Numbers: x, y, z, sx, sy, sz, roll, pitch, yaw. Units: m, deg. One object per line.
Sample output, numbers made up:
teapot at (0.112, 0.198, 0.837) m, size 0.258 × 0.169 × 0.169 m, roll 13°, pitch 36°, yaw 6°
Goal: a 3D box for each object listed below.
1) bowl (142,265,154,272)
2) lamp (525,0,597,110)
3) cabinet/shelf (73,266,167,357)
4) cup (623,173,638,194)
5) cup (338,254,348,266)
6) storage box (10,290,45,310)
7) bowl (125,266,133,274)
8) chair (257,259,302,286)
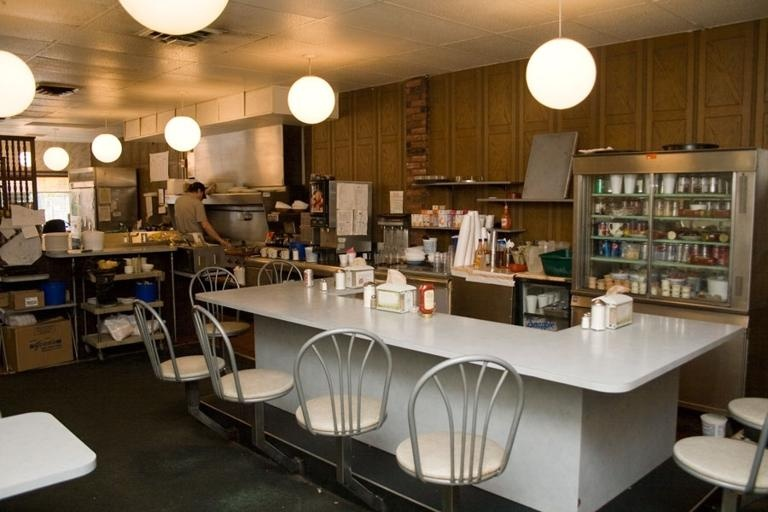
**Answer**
bowl at (-2.893, 0.150, 7.132) m, size 0.095 × 0.047 × 0.092 m, roll 0°, pitch -2°, yaw 0°
lamp at (1.328, -1.390, 4.363) m, size 0.492 × 0.497 × 0.212 m, roll 2°, pitch 14°, yaw 13°
cabinet/shelf at (-3.056, 0.660, 6.634) m, size 0.671 × 0.930 × 1.016 m, roll 12°, pitch 12°, yaw 43°
cup at (2.386, -0.709, 5.635) m, size 0.180 × 0.190 × 0.180 m, roll -2°, pitch 3°, yaw 0°
cup at (-0.493, 0.047, 6.664) m, size 0.141 × 0.135 × 0.134 m, roll 2°, pitch 7°, yaw 0°
storage box at (-3.902, 0.453, 6.366) m, size 0.252 × 0.148 × 0.249 m, roll 6°, pitch 8°, yaw 39°
bowl at (-3.042, 0.155, 6.942) m, size 0.084 × 0.072 × 0.107 m, roll -2°, pitch -3°, yaw 33°
chair at (-1.293, 0.207, 7.326) m, size 0.349 × 0.307 × 0.189 m, roll 6°, pitch 9°, yaw 39°
